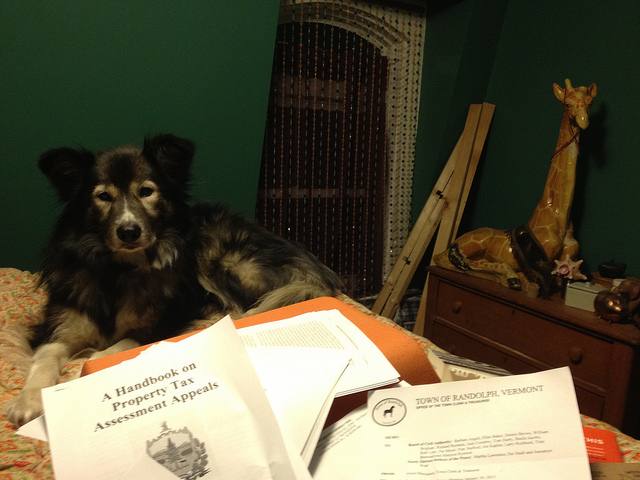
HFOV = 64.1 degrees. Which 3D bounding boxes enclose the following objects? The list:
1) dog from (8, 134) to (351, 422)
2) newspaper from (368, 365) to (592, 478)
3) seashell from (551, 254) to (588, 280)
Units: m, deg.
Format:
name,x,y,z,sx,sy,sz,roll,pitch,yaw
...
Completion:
name,x,y,z,sx,sy,sz,roll,pitch,yaw
dog,-0.716,0.212,2.265,1.245,0.828,1.222,-15,5,22
newspaper,0.428,0.495,1.315,0.456,0.334,0.115,0,-12,9
seashell,1.371,0.149,2.810,0.187,0.116,0.204,6,14,19
